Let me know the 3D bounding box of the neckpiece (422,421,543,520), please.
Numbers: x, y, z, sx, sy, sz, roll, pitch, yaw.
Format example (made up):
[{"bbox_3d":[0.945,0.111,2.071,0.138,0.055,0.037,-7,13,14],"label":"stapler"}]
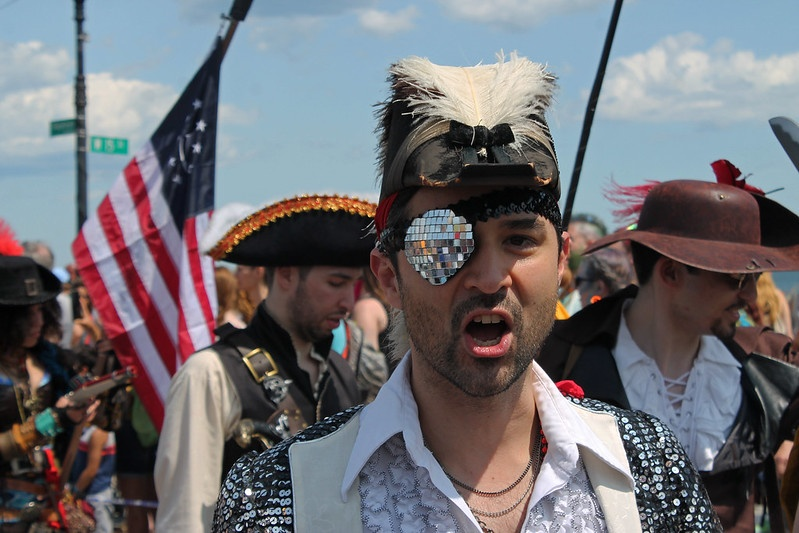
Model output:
[{"bbox_3d":[0.677,1.213,7.685,0.435,0.593,0.119,-5,-4,-3],"label":"neckpiece"}]
